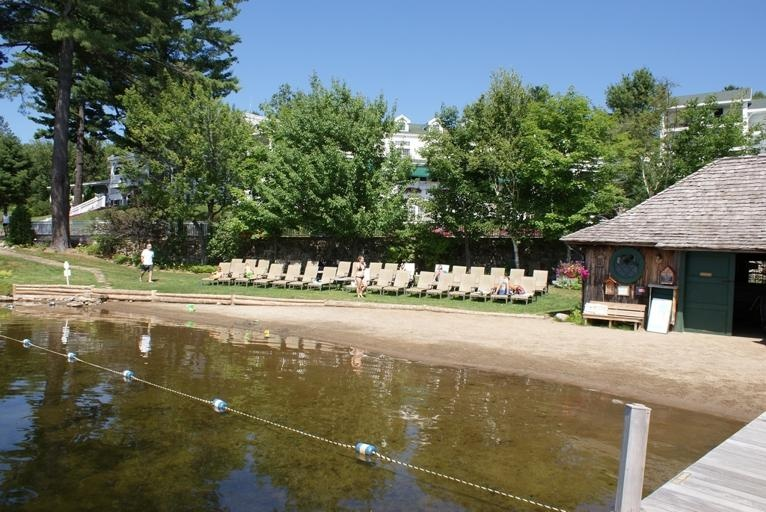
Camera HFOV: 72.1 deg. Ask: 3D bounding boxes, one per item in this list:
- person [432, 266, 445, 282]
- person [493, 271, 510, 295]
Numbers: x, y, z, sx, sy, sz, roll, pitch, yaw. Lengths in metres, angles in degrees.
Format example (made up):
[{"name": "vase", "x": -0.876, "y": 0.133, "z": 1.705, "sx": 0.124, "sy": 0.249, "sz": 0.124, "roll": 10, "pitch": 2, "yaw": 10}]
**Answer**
[{"name": "person", "x": 2.814, "y": 0.906, "z": 26.525, "sx": 0.704, "sy": 0.778, "sz": 2.053, "roll": -2, "pitch": -5, "yaw": 8}, {"name": "person", "x": 5.384, "y": 1.360, "z": 23.727, "sx": 0.796, "sy": 0.795, "sz": 0.661, "roll": 1, "pitch": 9, "yaw": 5}]
